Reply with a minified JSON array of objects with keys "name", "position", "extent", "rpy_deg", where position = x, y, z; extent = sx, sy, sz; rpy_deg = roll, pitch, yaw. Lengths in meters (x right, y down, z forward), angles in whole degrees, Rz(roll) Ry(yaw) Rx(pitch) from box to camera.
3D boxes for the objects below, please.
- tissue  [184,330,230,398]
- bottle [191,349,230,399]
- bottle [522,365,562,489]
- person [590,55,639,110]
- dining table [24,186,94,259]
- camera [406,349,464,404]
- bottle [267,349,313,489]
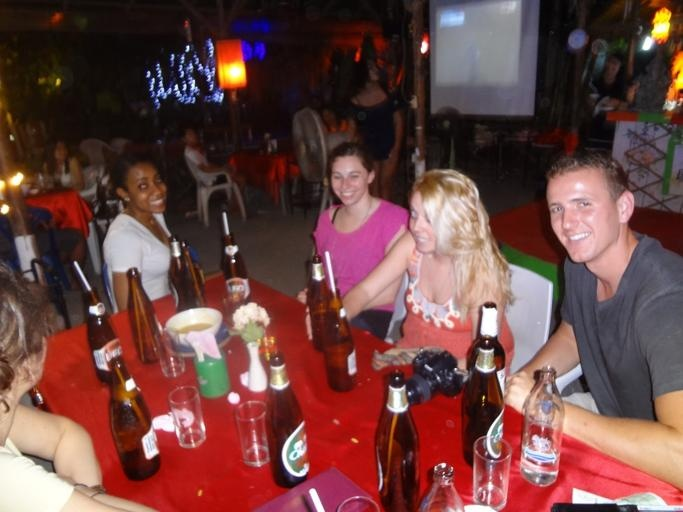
[{"name":"tissue ","position":[-0.542,0.434,1.897],"extent":[0.139,0.288,0.145],"rpy_deg":[8,24,21]},{"name":"bottle","position":[-0.510,0.463,1.943],"extent":[0.148,0.187,0.152],"rpy_deg":[0,22,0]},{"name":"bottle","position":[0.654,0.537,1.555],"extent":[0.123,0.320,0.223],"rpy_deg":[6,18,25]},{"name":"person","position":[3.459,-2.237,6.132],"extent":[0.469,0.745,1.396],"rpy_deg":[6,18,26]},{"name":"dining table","position":[-2.793,-0.405,4.879],"extent":[0.582,0.313,0.594],"rpy_deg":[30,37,25]},{"name":"camera","position":[0.334,0.434,1.717],"extent":[0.192,0.121,0.177],"rpy_deg":[-10,13,-39]},{"name":"bottle","position":[-0.183,0.498,1.560],"extent":[0.132,0.463,0.204],"rpy_deg":[-4,16,-7]}]
